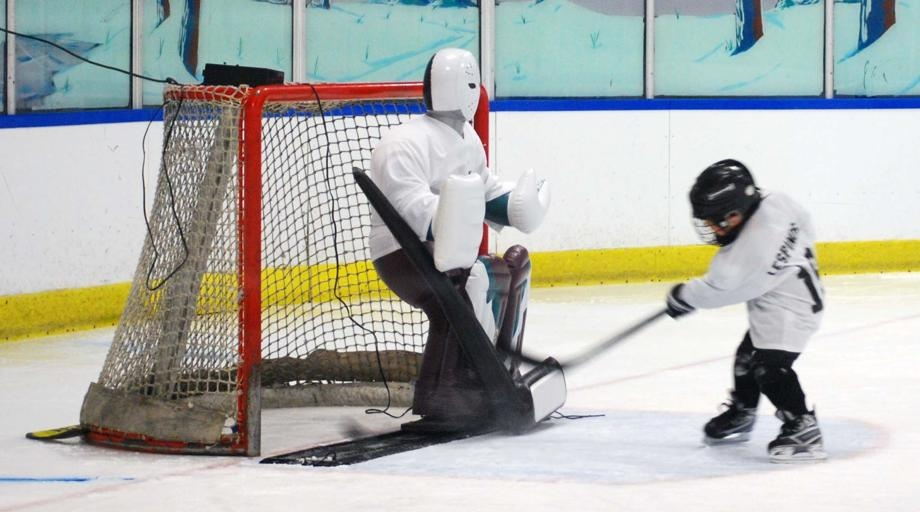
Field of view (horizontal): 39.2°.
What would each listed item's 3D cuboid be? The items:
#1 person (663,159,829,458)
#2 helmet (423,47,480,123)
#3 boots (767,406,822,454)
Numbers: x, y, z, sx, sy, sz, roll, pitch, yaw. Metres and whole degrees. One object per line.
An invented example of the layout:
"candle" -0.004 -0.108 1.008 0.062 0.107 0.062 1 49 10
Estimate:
"person" 1.579 0.285 7.084 0.817 1.624 0.263 2 6 6
"helmet" -0.064 -1.001 7.610 0.360 0.376 0.311 0 8 -4
"boots" 1.836 0.984 7.104 0.328 0.284 0.190 -7 -7 31
